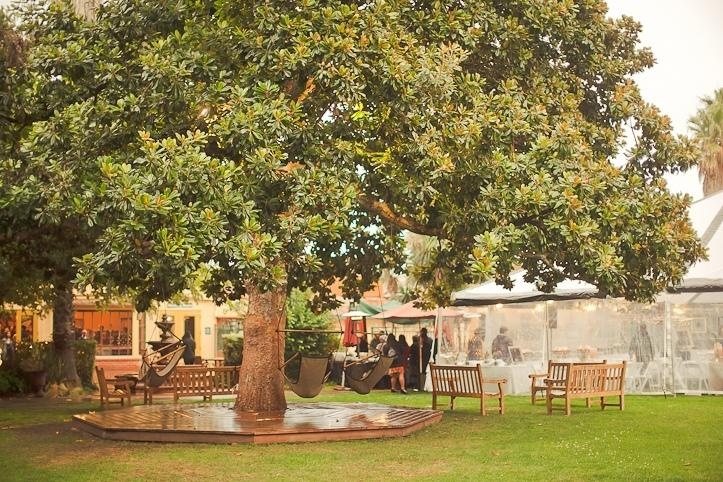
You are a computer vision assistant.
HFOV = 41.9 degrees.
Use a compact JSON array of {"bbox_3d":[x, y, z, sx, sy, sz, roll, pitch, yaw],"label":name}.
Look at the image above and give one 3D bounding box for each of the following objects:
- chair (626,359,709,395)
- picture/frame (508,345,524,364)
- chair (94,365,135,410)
[{"bbox_3d":[9.554,4.245,29.392,1.430,0.729,1.481,1,-5,-18],"label":"chair"},{"bbox_3d":[5.011,3.738,30.832,0.525,0.646,0.047,-3,-20,-26],"label":"picture/frame"},{"bbox_3d":[-7.165,4.205,27.126,1.088,1.205,1.152,0,0,-6],"label":"chair"}]
